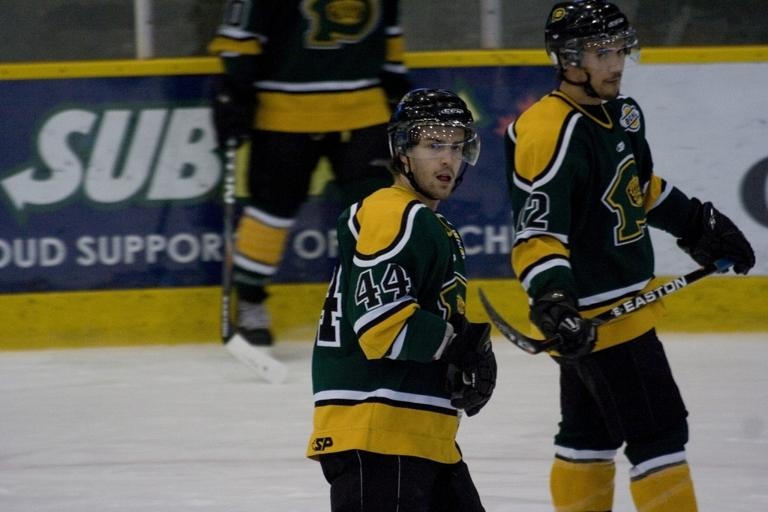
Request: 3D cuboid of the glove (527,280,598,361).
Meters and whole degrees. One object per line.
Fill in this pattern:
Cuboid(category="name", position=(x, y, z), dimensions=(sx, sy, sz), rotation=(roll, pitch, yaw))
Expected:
Cuboid(category="glove", position=(0.841, 0.316, 6.815), dimensions=(0.348, 0.252, 0.096), rotation=(44, 23, 11))

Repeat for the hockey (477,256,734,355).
Cuboid(category="hockey", position=(1.133, 0.236, 6.960), dimensions=(1.596, 0.070, 0.428), rotation=(-11, 61, -32))

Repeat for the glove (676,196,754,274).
Cuboid(category="glove", position=(1.661, -0.085, 7.261), dimensions=(0.437, 0.319, 0.192), rotation=(33, 53, 8))

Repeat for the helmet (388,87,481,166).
Cuboid(category="helmet", position=(0.273, -0.609, 6.724), dimensions=(0.437, 0.348, 0.321), rotation=(-3, -3, 27))

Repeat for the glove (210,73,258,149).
Cuboid(category="glove", position=(-0.981, -0.932, 9.251), dimensions=(0.364, 0.445, 0.124), rotation=(1, 11, 10))
